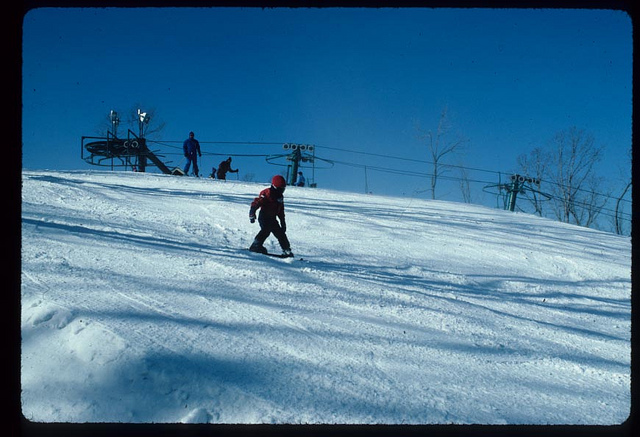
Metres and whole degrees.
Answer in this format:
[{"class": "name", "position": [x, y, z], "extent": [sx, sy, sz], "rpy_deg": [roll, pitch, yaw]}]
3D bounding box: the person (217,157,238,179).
[{"class": "person", "position": [-4.551, -2.374, 24.402], "extent": [0.543, 0.965, 0.514], "rpy_deg": [3, 11, -25]}]

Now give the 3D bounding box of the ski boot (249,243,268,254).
[{"class": "ski boot", "position": [-1.219, 0.606, 10.043], "extent": [0.326, 0.214, 0.161], "rpy_deg": [1, -1, -11]}]

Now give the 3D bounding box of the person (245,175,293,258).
[{"class": "person", "position": [-0.956, -0.073, 10.170], "extent": [0.889, 1.548, 0.851], "rpy_deg": [8, 10, -1]}]

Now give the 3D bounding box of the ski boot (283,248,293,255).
[{"class": "ski boot", "position": [-0.627, 0.658, 9.937], "extent": [0.130, 0.125, 0.127], "rpy_deg": [5, -9, -44]}]
